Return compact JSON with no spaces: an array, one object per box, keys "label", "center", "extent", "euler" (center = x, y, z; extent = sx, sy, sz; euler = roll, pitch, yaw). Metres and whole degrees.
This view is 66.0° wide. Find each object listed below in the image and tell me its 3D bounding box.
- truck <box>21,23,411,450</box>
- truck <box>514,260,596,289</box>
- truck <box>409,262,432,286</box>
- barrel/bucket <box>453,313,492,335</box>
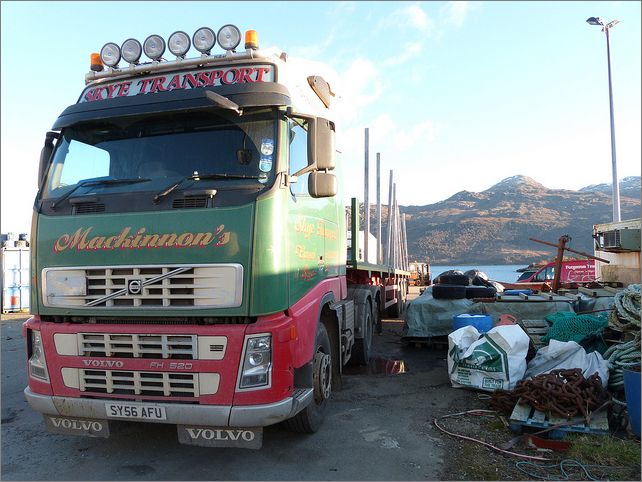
[{"label":"truck","center":[-1.497,-0.037,5.616],"extent":[3.336,4.785,1.621],"euler":[-1,2,4]},{"label":"truck","center":[7.979,1.171,16.902],"extent":[2.206,0.831,6.287],"euler":[0,3,31]},{"label":"truck","center":[7.140,2.430,35.726],"extent":[1.726,1.691,2.738],"euler":[-3,-13,17]},{"label":"barrel/bucket","center":[2.680,1.433,8.651],"extent":[0.590,0.248,0.968],"euler":[-2,2,-15]}]
